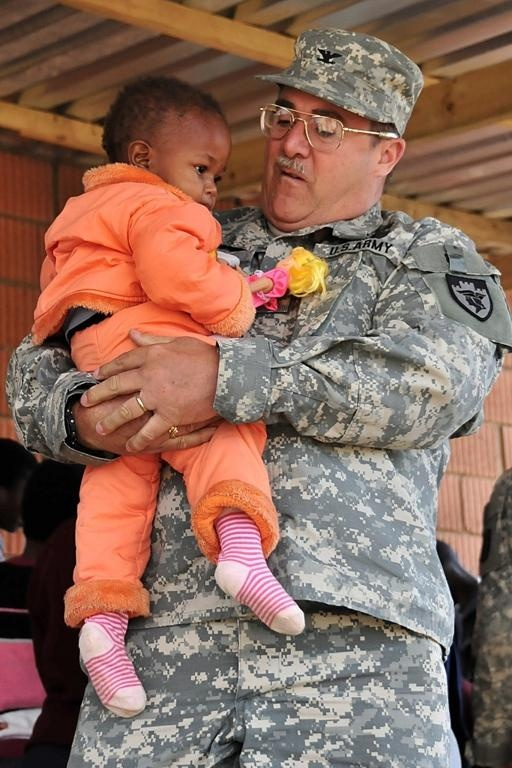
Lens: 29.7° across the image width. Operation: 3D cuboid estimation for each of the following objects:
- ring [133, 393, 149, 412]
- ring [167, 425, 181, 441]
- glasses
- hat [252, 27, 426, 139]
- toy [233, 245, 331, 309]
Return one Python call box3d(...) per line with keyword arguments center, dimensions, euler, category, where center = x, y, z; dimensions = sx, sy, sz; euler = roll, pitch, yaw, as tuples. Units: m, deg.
box3d(center=(-0.236, 0.039, 1.994), dimensions=(0.015, 0.036, 0.030), euler=(-40, 27, -26), category="ring")
box3d(center=(-0.163, 0.103, 1.998), dimensions=(0.024, 0.021, 0.008), euler=(3, 9, -26), category="ring")
box3d(center=(0.155, -0.688, 2.598), dimensions=(0.254, 0.056, 0.254), euler=(13, 8, 39), category="glasses")
box3d(center=(0.241, -0.784, 2.631), dimensions=(0.350, 0.175, 0.365), euler=(23, 14, 9), category="hat")
box3d(center=(0.066, -0.245, 2.292), dimensions=(0.146, 0.168, 0.075), euler=(47, -2, 19), category="toy")
